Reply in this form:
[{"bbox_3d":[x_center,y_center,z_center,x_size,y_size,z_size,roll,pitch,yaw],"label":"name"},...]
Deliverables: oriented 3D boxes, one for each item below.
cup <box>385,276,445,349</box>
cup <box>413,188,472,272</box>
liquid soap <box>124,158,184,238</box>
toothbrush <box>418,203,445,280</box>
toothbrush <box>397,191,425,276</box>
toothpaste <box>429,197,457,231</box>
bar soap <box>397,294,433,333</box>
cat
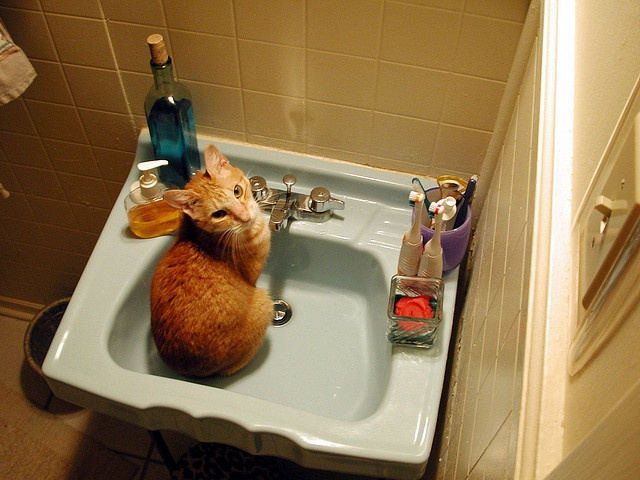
[{"bbox_3d":[0.175,0.137,0.939,0.112,0.117,0.124,3,76,9],"label":"cup"},{"bbox_3d":[0.235,-0.017,1.045,0.129,0.150,0.154,1,47,9],"label":"cup"},{"bbox_3d":[-0.357,-0.086,1.050,0.102,0.151,0.073,-19,43,-28],"label":"liquid soap"},{"bbox_3d":[0.205,0.005,0.910,0.042,0.152,0.036,6,50,6],"label":"toothbrush"},{"bbox_3d":[0.175,-0.005,0.921,0.045,0.188,0.043,3,39,1],"label":"toothbrush"},{"bbox_3d":[0.227,-0.047,0.913,0.029,0.061,0.018,-24,56,-11],"label":"toothpaste"},{"bbox_3d":[0.169,0.123,0.888,0.068,0.033,0.074,5,51,4],"label":"bar soap"},{"bbox_3d":[-0.224,0.058,1.019,0.240,0.454,0.300,-3,29,-1],"label":"cat"}]
